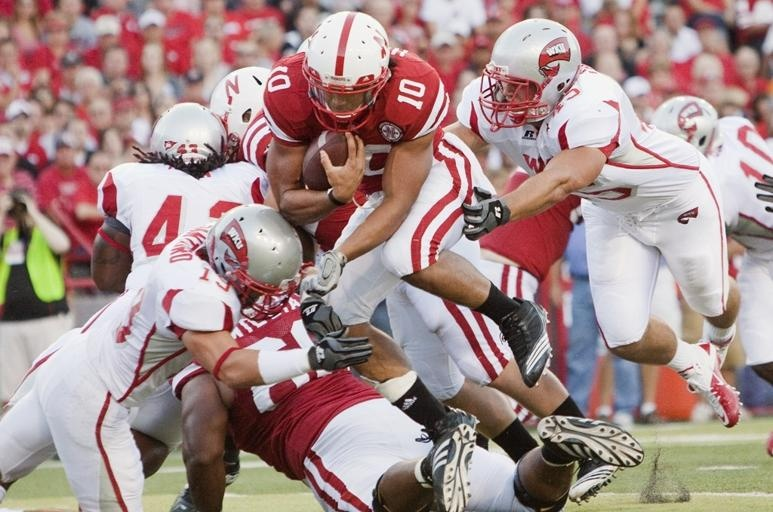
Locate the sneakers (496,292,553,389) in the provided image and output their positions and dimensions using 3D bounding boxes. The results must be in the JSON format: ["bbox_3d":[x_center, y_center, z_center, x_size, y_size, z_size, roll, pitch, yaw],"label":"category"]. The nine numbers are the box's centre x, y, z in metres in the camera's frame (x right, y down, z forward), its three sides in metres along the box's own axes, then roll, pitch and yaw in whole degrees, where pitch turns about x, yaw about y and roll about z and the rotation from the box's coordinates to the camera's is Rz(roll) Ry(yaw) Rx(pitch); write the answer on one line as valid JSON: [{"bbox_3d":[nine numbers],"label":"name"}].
[{"bbox_3d":[0.779,0.469,5.609,0.281,0.605,0.196,3,-33,-18],"label":"sneakers"}]

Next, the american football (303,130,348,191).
[{"bbox_3d":[-0.373,-0.522,5.459,0.185,0.315,0.247,42,-6,-19],"label":"american football"}]

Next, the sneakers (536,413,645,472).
[{"bbox_3d":[1.083,0.947,5.142,0.532,0.268,0.260,6,7,9],"label":"sneakers"}]

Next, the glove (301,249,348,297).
[{"bbox_3d":[-0.356,0.111,5.247,0.122,0.266,0.196,41,-25,-27],"label":"glove"}]

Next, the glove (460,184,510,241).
[{"bbox_3d":[0.559,-0.231,5.386,0.267,0.268,0.202,1,9,0],"label":"glove"}]

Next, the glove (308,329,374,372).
[{"bbox_3d":[-0.249,0.496,5.004,0.283,0.175,0.131,-5,-34,-8],"label":"glove"}]
